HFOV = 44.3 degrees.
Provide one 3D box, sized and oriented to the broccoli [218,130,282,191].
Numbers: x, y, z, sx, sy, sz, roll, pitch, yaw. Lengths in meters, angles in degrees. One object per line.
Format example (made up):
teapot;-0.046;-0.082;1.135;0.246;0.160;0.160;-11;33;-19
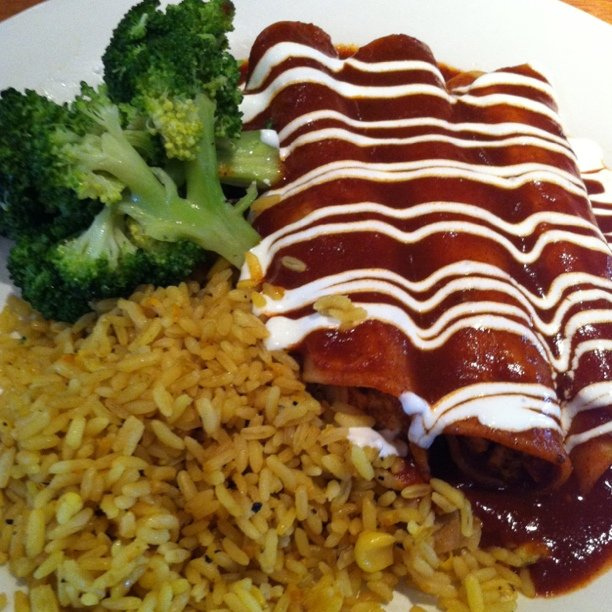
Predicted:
broccoli;-0.195;-0.506;2.562;0.228;0.172;0.234;-8;26;-21

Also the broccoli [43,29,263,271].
broccoli;-0.394;-0.458;2.403;0.754;0.268;0.580;42;72;-3

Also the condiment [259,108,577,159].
condiment;0.333;-0.596;2.585;1.146;0.170;0.120;-4;88;-5

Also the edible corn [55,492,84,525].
edible corn;-0.707;0.592;2.216;0.036;0.079;0.087;0;67;59

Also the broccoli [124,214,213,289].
broccoli;-0.463;-0.182;2.532;0.278;0.223;0.208;-18;33;-32

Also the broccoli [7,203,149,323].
broccoli;-0.788;-0.146;2.503;0.488;0.323;0.315;-19;33;-36

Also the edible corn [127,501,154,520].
edible corn;-0.490;0.599;2.222;0.062;0.029;0.040;-39;52;-21

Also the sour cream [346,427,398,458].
sour cream;0.207;0.424;2.366;0.139;0.114;0.079;5;55;19
